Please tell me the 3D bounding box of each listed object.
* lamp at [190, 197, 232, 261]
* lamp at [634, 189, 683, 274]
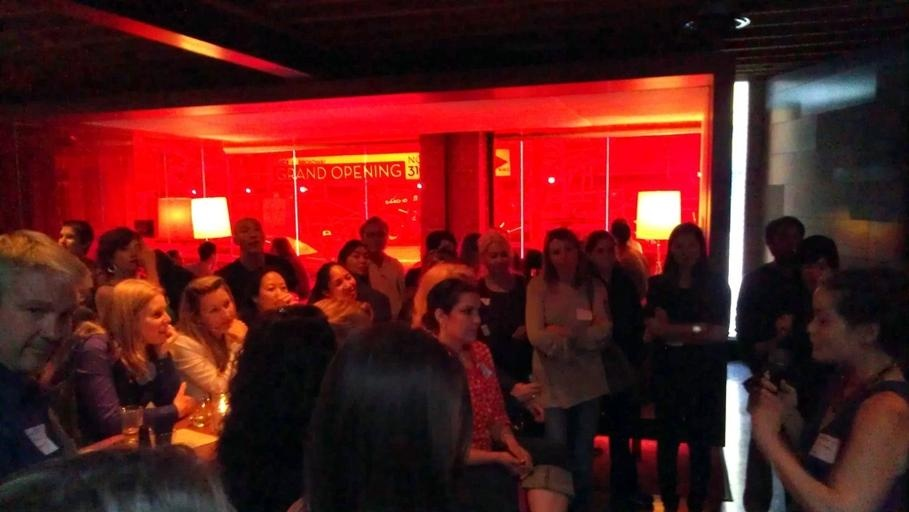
[{"bbox_3d":[-2.312,-0.293,6.739,0.432,0.412,0.404,-1,-8,-28],"label":"lamp"},{"bbox_3d":[1.698,-0.198,5.934,0.455,0.639,0.402,0,4,-2],"label":"lamp"}]
